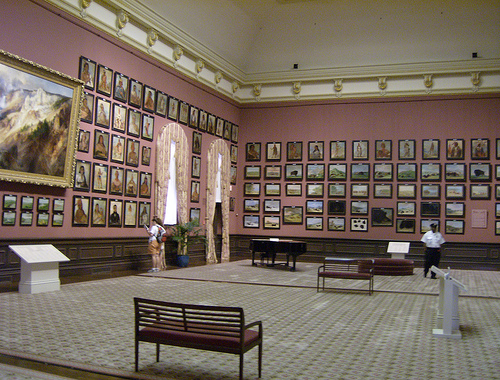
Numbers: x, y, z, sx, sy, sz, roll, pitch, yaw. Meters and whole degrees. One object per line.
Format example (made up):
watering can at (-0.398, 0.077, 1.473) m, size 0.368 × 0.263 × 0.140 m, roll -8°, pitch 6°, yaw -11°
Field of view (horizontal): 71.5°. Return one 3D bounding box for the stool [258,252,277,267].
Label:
stool at (0.905, 3.608, 18.001) m, size 0.803 × 0.833 × 1.420 m, roll 1°, pitch -5°, yaw 16°

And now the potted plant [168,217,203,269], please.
potted plant at (-3.092, 2.488, 16.938) m, size 2.394 × 2.254 × 2.027 m, roll 1°, pitch -2°, yaw 4°
